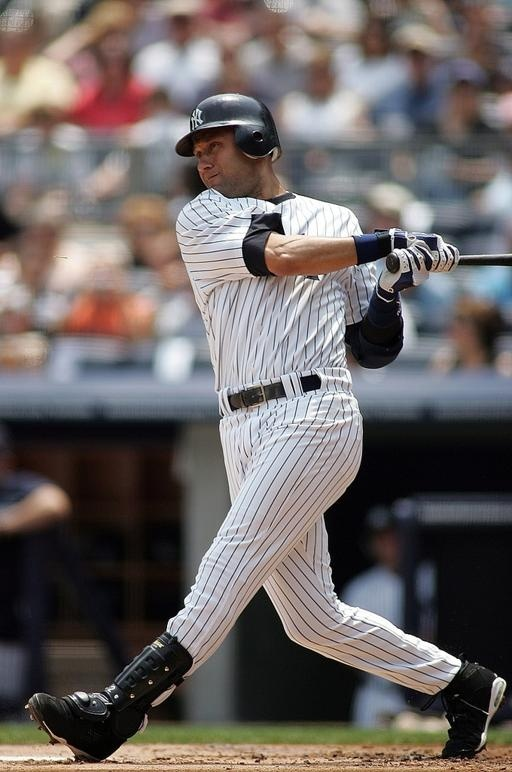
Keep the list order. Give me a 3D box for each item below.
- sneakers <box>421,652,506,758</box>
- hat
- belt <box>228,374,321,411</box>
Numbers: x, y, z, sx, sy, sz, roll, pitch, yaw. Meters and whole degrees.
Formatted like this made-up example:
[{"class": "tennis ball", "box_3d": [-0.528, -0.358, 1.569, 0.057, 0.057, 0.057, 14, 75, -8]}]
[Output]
[{"class": "sneakers", "box_3d": [0.493, 0.782, 3.258, 0.222, 0.100, 0.272, 18, 94, -6]}, {"class": "hat", "box_3d": [-0.069, -0.637, 3.239, 0.232, 0.193, 0.140, 0, 78, -11]}, {"class": "belt", "box_3d": [0.048, 0.022, 3.052, 0.152, 0.099, 0.037, -14, 86, 0]}]
